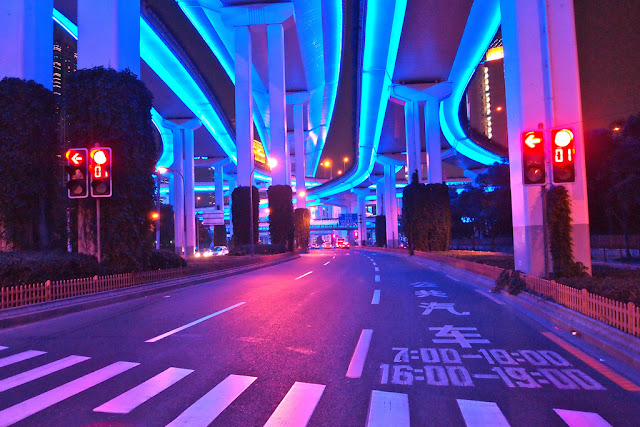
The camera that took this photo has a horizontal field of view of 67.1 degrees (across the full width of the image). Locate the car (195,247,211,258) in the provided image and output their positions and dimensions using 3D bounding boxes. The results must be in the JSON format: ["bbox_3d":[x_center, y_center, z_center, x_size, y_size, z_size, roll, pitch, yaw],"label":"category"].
[{"bbox_3d":[-15.933,5.321,65.438,1.434,1.433,2.497,-7,-14,33],"label":"car"}]

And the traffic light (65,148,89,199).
[{"bbox_3d":[-10.197,-1.709,20.293,0.871,2.038,0.581,-2,-3,-15],"label":"traffic light"}]

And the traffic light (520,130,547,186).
[{"bbox_3d":[8.085,-2.060,18.337,0.787,2.145,0.219,-1,-3,24],"label":"traffic light"}]
